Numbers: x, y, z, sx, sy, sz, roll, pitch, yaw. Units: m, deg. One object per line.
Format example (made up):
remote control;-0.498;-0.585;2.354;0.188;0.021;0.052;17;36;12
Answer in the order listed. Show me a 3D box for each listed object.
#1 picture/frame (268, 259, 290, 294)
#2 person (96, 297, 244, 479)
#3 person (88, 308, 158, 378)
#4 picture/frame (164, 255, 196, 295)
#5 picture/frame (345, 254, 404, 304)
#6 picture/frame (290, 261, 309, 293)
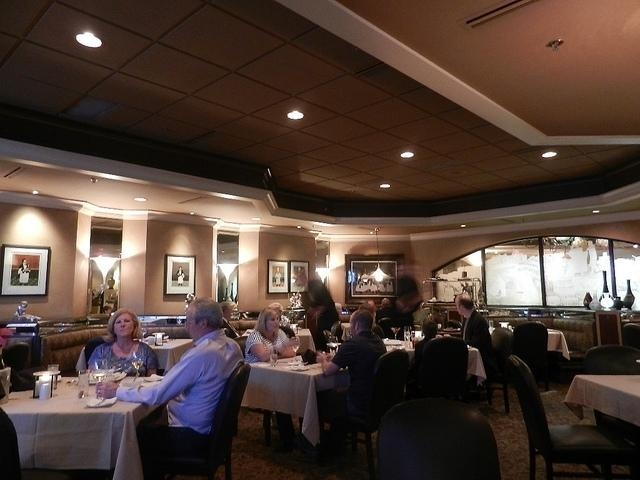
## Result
picture/frame;-1.023;0.869;10.416;0.765;0.908;0.066;6;-11;-44
person;-1.044;1.327;3.983;1.118;1.991;0.970;-2;-18;14
person;-1.999;1.038;4.437;0.763;0.749;0.417;3;-27;-19
picture/frame;-2.873;0.695;8.839;0.070;0.945;0.765;-7;-9;44
picture/frame;1.500;1.062;11.806;1.286;0.987;0.086;1;-6;0
picture/frame;-0.554;0.913;10.818;0.078;0.796;0.690;-11;-17;36
